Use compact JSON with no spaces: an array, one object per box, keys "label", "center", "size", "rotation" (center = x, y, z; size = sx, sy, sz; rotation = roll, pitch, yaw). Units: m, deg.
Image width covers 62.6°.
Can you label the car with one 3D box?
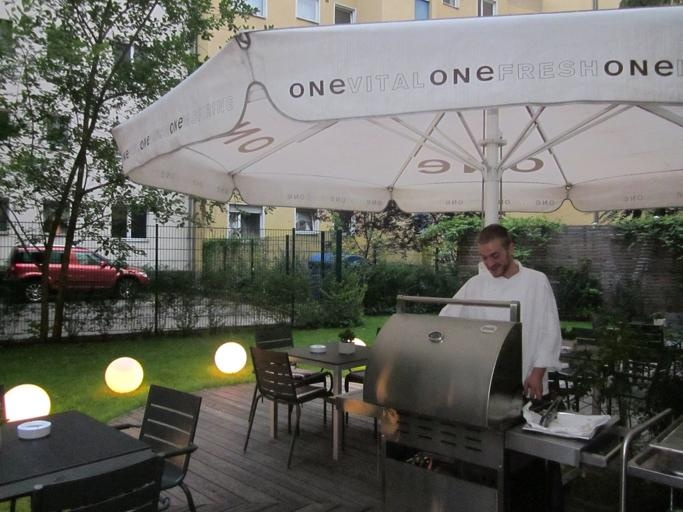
[{"label":"car","center":[-5.160,0.347,11.009],"size":[2.296,1.030,1.072],"rotation":[0,1,-28]}]

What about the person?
[{"label":"person","center":[1.120,0.366,3.824],"size":[0.689,1.165,0.619],"rotation":[2,4,34]}]

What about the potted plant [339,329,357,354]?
[{"label":"potted plant","center":[0.050,0.880,5.768],"size":[0.209,0.321,0.204],"rotation":[0,-5,-2]}]

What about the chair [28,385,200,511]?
[{"label":"chair","center":[-1.453,1.225,3.857],"size":[0.767,1.219,0.797],"rotation":[-1,-5,32]}]
